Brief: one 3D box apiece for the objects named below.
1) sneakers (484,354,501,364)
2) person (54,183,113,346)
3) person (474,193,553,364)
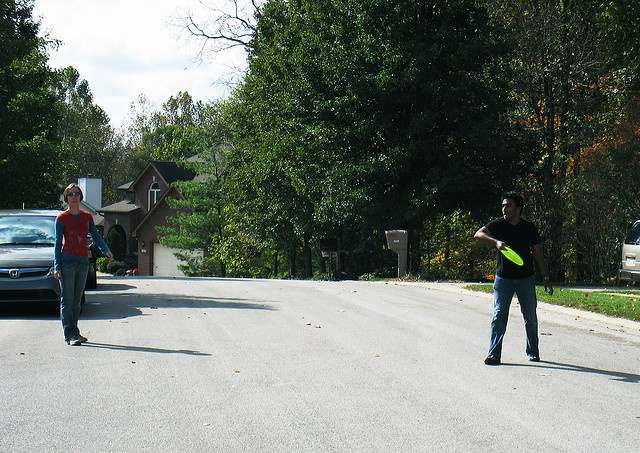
[{"bbox_3d":[3.041,2.385,12.825,0.117,0.132,0.276,2,-9,-17],"label":"sneakers"},{"bbox_3d":[-4.677,0.702,13.859,0.731,2.977,1.219,3,11,16],"label":"person"},{"bbox_3d":[3.477,0.918,13.045,1.376,3.026,0.938,-7,13,-33],"label":"person"}]
